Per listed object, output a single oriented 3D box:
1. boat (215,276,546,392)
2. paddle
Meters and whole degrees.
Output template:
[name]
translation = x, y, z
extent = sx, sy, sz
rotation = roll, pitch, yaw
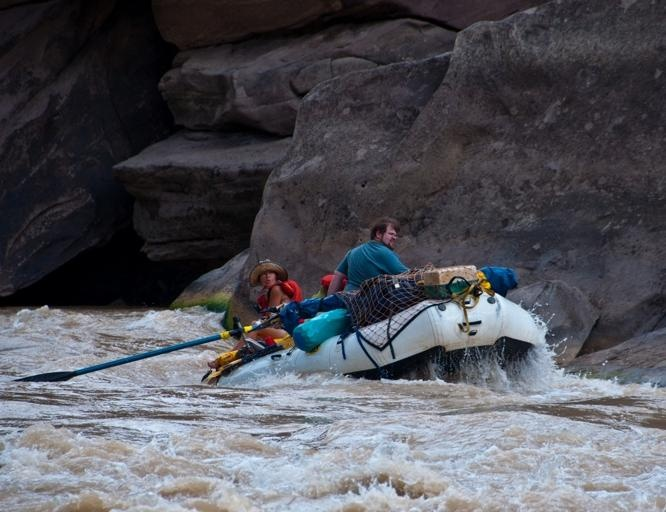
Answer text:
[boat]
translation = 0.640, 1.017, 13.100
extent = 2.737, 0.553, 1.567
rotation = -15, -3, -2
[paddle]
translation = -2.575, 1.260, 15.089
extent = 2.608, 0.140, 0.252
rotation = -12, 39, -8
